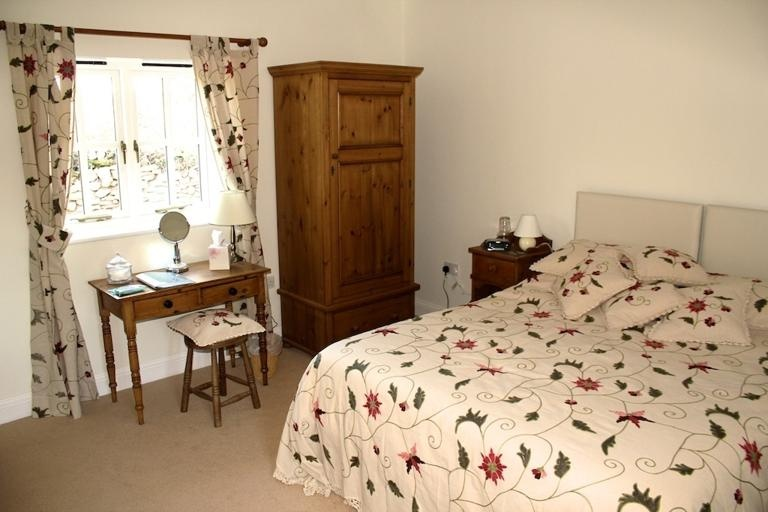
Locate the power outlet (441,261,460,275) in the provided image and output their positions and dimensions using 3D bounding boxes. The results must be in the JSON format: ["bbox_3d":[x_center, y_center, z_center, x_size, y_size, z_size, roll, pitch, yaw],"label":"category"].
[{"bbox_3d":[0.668,0.084,5.512,0.120,0.130,0.202,-6,13,-31],"label":"power outlet"}]

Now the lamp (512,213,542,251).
[{"bbox_3d":[1.223,-0.199,4.654,0.251,0.311,0.241,-9,14,-28],"label":"lamp"}]

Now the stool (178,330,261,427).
[{"bbox_3d":[-1.294,0.924,4.274,0.695,0.587,0.669,-3,9,-22],"label":"stool"}]

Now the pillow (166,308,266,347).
[{"bbox_3d":[-1.295,0.521,4.226,0.552,0.168,0.509,12,20,43],"label":"pillow"}]

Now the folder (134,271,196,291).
[{"bbox_3d":[-1.719,0.178,4.252,0.320,0.048,0.431,-11,17,-35],"label":"folder"}]

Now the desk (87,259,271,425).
[{"bbox_3d":[-1.636,0.673,4.544,0.799,1.021,1.279,5,14,43],"label":"desk"}]

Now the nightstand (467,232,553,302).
[{"bbox_3d":[1.136,0.256,4.897,0.529,0.864,0.564,-16,21,-40],"label":"nightstand"}]
